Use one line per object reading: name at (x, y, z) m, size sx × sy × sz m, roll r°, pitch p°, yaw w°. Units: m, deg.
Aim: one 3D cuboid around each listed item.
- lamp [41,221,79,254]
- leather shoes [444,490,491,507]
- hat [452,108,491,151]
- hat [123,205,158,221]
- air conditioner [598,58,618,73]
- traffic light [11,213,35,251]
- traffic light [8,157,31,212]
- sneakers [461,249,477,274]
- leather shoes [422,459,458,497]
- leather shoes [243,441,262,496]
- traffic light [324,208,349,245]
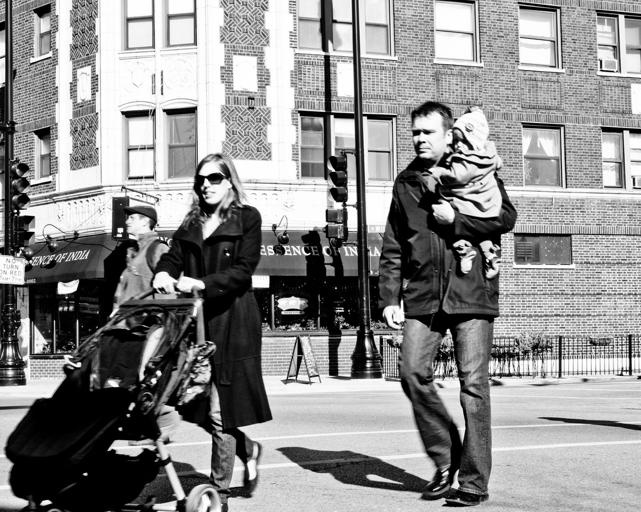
lamp at (-6.747, -0.555, 30.899) m, size 0.708 × 0.429 × 1.073 m, roll 2°, pitch 2°, yaw -18°
leather shoes at (1.733, 2.827, 14.063) m, size 0.460 × 0.189 × 0.203 m, roll 13°, pitch -4°, yaw -7°
hat at (1.881, -1.524, 14.551) m, size 0.441 × 0.478 × 0.441 m, roll -2°, pitch 3°, yaw -28°
hat at (-2.632, -0.668, 17.699) m, size 0.369 × 0.111 × 0.249 m, roll 13°, pitch -7°, yaw -12°
air conditioner at (8.017, -5.332, 33.443) m, size 0.465 × 0.365 × 0.232 m, roll 3°, pitch -8°, yaw -28°
traffic light at (-6.731, -0.545, 27.018) m, size 0.364 × 0.843 × 0.830 m, roll 0°, pitch -3°, yaw 4°
traffic light at (-6.769, -1.613, 26.906) m, size 0.409 × 1.239 × 0.835 m, roll 1°, pitch -4°, yaw -14°
sneakers at (1.757, 0.058, 14.188) m, size 0.177 × 0.264 × 0.100 m, roll 7°, pitch 0°, yaw 27°
leather shoes at (1.469, 2.633, 14.274) m, size 0.221 × 0.554 × 0.209 m, roll 48°, pitch -14°, yaw -27°
leather shoes at (-0.819, 2.561, 14.546) m, size 0.219 × 0.608 × 0.253 m, roll 0°, pitch -3°, yaw 19°
traffic light at (0.425, -0.740, 27.425) m, size 0.594 × 0.671 × 0.673 m, roll -8°, pitch -10°, yaw 39°
